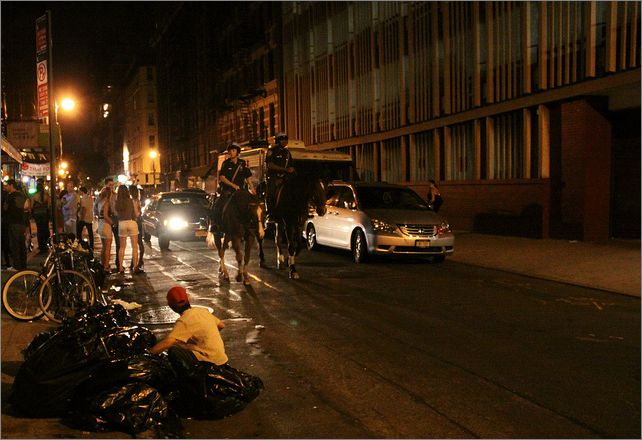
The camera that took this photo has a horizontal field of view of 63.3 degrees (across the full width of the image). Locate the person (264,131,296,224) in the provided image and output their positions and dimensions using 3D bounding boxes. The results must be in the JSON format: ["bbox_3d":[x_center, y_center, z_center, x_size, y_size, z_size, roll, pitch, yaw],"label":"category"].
[{"bbox_3d":[-1.180,-1.195,14.379,0.734,2.369,0.620,0,0,-5],"label":"person"}]

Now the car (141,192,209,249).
[{"bbox_3d":[-6.093,-0.069,21.958,2.343,2.414,3.194,0,0,-21],"label":"car"}]

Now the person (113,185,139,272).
[{"bbox_3d":[-5.319,0.252,14.189,0.591,2.382,0.669,0,0,-16],"label":"person"}]

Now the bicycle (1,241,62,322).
[{"bbox_3d":[-5.119,1.113,9.128,0.935,1.319,0.378,0,0,-11],"label":"bicycle"}]

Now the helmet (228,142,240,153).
[{"bbox_3d":[-2.300,-1.932,13.858,0.320,0.309,0.279,-10,15,-13],"label":"helmet"}]

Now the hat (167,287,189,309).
[{"bbox_3d":[-1.573,0.810,5.637,0.158,0.138,0.245,-13,24,-19],"label":"hat"}]

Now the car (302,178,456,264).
[{"bbox_3d":[1.708,-0.002,16.613,2.254,2.559,4.540,0,0,-39],"label":"car"}]
